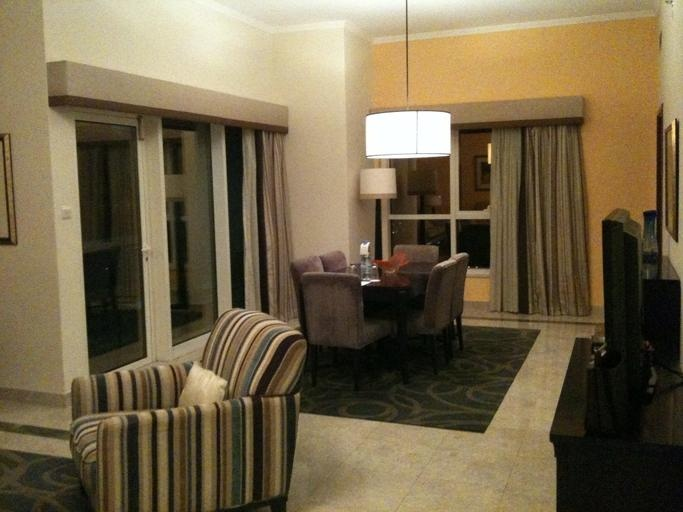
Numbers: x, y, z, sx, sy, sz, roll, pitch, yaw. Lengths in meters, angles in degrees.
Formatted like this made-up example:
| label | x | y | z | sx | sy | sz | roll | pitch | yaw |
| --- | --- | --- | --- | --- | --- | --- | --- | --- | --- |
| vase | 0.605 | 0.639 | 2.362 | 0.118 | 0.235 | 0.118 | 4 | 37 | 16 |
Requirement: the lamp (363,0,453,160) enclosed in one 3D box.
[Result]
| label | x | y | z | sx | sy | sz | roll | pitch | yaw |
| --- | --- | --- | --- | --- | --- | --- | --- | --- | --- |
| lamp | 0.692 | -1.904 | 5.765 | 0.783 | 1.744 | 2.123 | 0 | 10 | 6 |

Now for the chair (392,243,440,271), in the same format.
| label | x | y | z | sx | sy | sz | roll | pitch | yaw |
| --- | --- | --- | --- | --- | --- | --- | --- | --- | --- |
| chair | 0.869 | 0.000 | 6.564 | 0.378 | 0.284 | 0.360 | 4 | 10 | 28 |

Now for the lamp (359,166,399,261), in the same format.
| label | x | y | z | sx | sy | sz | roll | pitch | yaw |
| --- | --- | --- | --- | --- | --- | --- | --- | --- | --- |
| lamp | 0.536 | -0.574 | 7.737 | 0.493 | 1.292 | 0.822 | 1 | 10 | 15 |

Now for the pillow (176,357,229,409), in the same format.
| label | x | y | z | sx | sy | sz | roll | pitch | yaw |
| --- | --- | --- | --- | --- | --- | --- | --- | --- | --- |
| pillow | -0.836 | 0.746 | 3.233 | 0.249 | 0.257 | 0.076 | -35 | -53 | 25 |

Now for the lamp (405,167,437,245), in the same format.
| label | x | y | z | sx | sy | sz | roll | pitch | yaw |
| --- | --- | --- | --- | --- | --- | --- | --- | --- | --- |
| lamp | 1.197 | -0.721 | 8.084 | 0.479 | 1.056 | 0.127 | -1 | 10 | 5 |
